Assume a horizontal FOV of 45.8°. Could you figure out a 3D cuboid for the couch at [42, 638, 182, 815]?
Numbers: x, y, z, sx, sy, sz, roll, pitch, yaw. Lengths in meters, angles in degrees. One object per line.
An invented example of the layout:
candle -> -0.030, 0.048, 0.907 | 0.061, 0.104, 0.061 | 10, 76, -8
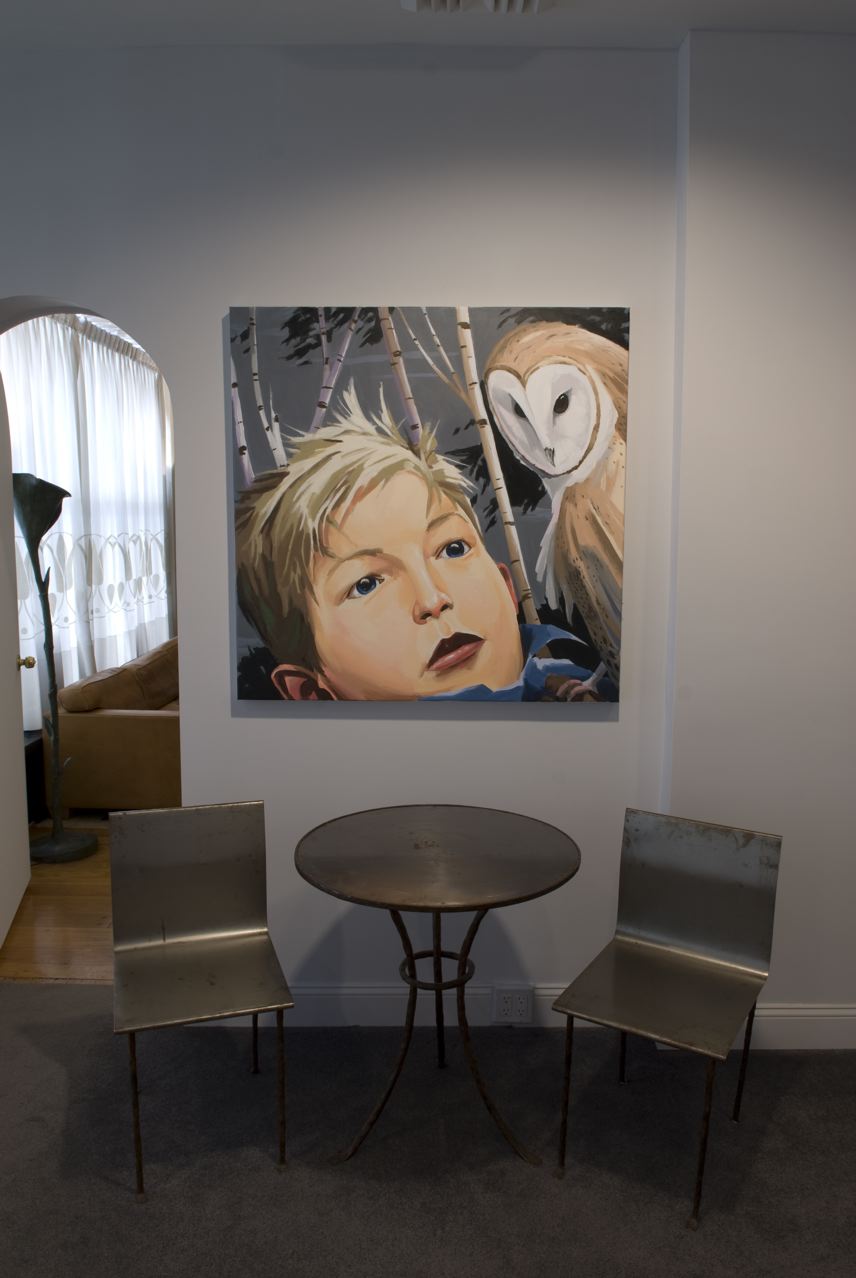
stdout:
couch -> -1.404, 0.413, 4.676 | 0.674, 0.652, 1.006 | -4, 14, -14
